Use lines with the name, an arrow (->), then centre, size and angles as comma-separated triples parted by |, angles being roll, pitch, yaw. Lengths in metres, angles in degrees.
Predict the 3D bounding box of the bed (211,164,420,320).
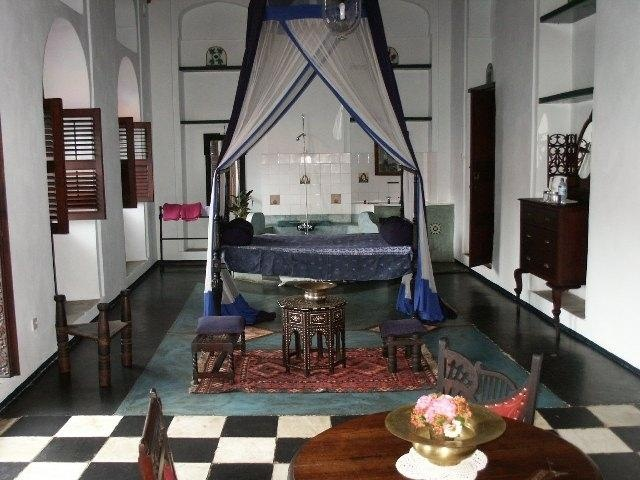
bed -> -0.044, 0.076, 6.701 | 2.469, 1.667, 1.532 | 2, 4, 0

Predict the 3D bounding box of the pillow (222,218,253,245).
pillow -> -1.049, -0.083, 6.187 | 0.331, 0.330, 0.091 | 4, -1, -2

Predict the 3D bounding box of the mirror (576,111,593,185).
mirror -> 3.221, -1.133, 5.865 | 0.092, 0.786, 0.399 | 1, 10, 13

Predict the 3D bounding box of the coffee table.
coffee table -> -0.090, 0.951, 5.036 | 0.720, 0.692, 0.729 | 3, 10, 28

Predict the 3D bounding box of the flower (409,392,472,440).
flower -> 0.519, 0.718, 2.023 | 0.193, 0.131, 0.192 | 0, 5, -21

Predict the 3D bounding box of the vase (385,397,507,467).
vase -> 0.535, 0.747, 2.021 | 0.208, 0.147, 0.229 | -5, 13, 45

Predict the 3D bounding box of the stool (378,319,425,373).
stool -> 0.779, 1.067, 4.983 | 0.479, 0.501, 0.480 | -2, 8, 0

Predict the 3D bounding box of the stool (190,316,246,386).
stool -> -1.007, 1.001, 4.810 | 0.523, 0.526, 0.959 | 2, 8, 0
